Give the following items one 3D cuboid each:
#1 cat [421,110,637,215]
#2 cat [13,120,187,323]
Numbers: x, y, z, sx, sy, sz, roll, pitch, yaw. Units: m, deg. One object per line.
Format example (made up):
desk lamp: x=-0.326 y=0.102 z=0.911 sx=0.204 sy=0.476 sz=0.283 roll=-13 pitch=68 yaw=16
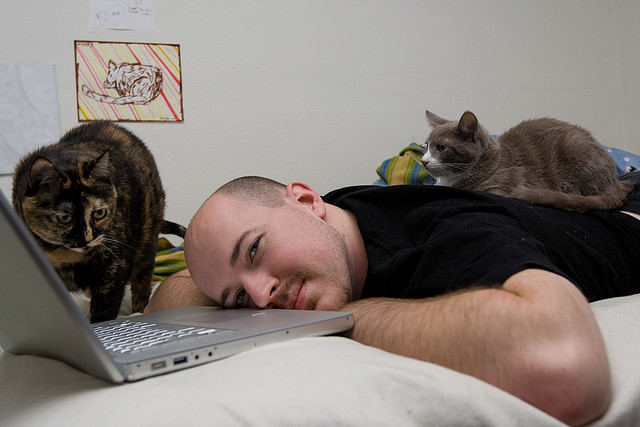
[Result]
cat: x=0.948 y=-0.255 z=2.156 sx=0.713 sy=0.367 sz=0.997 roll=-3 pitch=9 yaw=-14
cat: x=-0.936 y=0.015 z=2.133 sx=0.359 sy=0.797 sz=0.588 roll=5 pitch=11 yaw=32
